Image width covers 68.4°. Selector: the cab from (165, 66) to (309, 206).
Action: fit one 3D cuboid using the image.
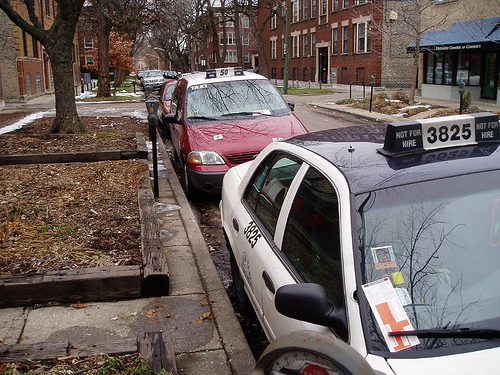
[{"bbox_3d":[-0.580,-1.775,9.499,2.819,2.629,5.387,-6,21,-14],"label":"cab"}]
